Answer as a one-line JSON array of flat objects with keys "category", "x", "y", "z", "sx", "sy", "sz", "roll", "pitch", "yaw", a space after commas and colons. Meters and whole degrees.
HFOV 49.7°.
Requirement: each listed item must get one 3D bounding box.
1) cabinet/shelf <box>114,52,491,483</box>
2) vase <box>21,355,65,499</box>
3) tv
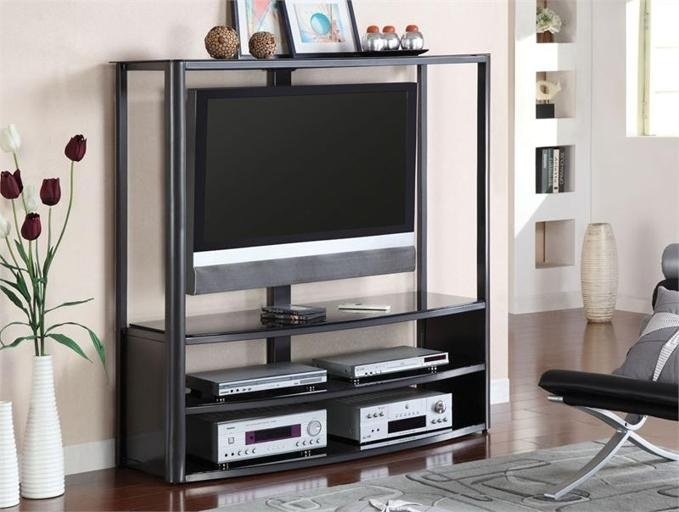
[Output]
[{"category": "cabinet/shelf", "x": -0.235, "y": 0.089, "z": 3.711, "sx": 2.218, "sy": 2.120, "sz": 0.728, "roll": -5, "pitch": 7, "yaw": -35}, {"category": "vase", "x": -1.338, "y": 0.752, "z": 3.251, "sx": 0.209, "sy": 0.624, "sz": 0.152, "roll": -1, "pitch": 6, "yaw": -6}, {"category": "tv", "x": -0.217, "y": -0.322, "z": 3.715, "sx": 1.301, "sy": 0.878, "sz": 0.130, "roll": -6, "pitch": 10, "yaw": -34}]
